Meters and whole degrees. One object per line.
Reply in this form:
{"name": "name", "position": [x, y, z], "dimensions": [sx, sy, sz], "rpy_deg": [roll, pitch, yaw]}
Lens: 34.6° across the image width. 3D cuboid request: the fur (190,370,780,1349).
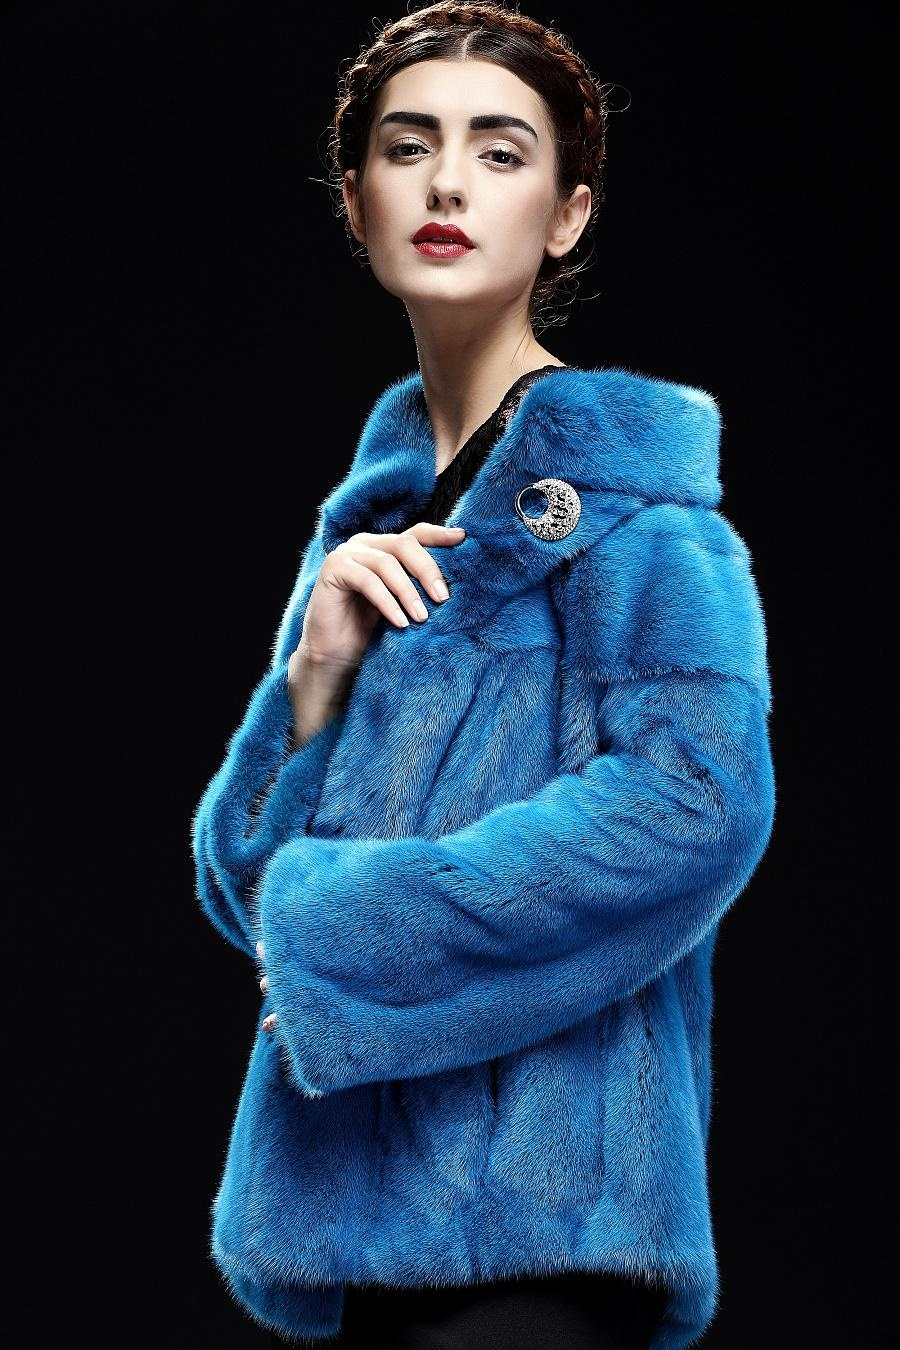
{"name": "fur", "position": [0.009, 0.215, 1.698], "dimensions": [0.607, 1.116, 0.717], "rpy_deg": [-9, 11, -30]}
